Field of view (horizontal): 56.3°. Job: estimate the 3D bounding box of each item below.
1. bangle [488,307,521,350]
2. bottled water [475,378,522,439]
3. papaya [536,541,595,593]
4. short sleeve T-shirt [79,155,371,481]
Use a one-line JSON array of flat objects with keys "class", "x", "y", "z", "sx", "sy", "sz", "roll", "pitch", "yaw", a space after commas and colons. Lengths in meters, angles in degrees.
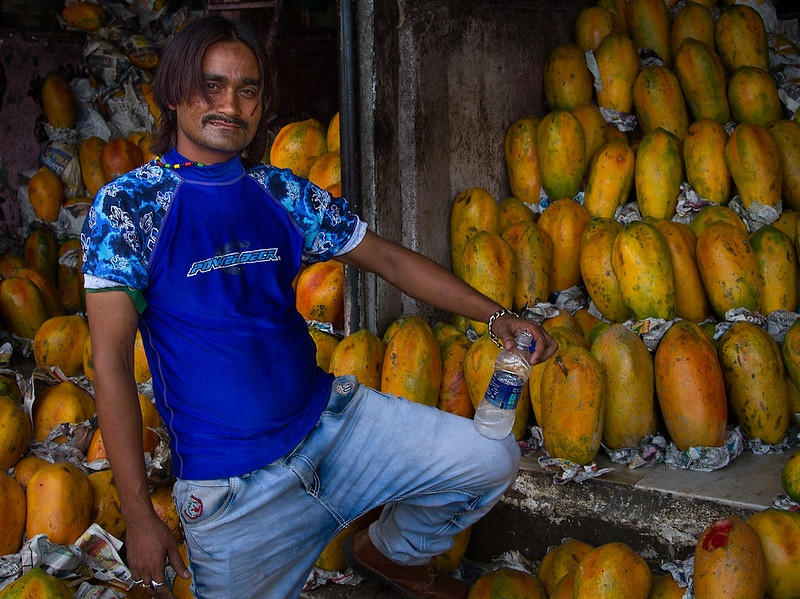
[{"class": "bangle", "x": 0.371, "y": 0.106, "z": 2.726, "sx": 0.100, "sy": 0.147, "sz": 0.036, "roll": 1, "pitch": 1, "yaw": 30}, {"class": "bottled water", "x": 0.345, "y": 0.386, "z": 2.660, "sx": 0.111, "sy": 0.115, "sz": 0.288, "roll": -14, "pitch": -17, "yaw": -10}, {"class": "papaya", "x": 0.639, "y": 1.059, "z": 2.981, "sx": 0.168, "sy": 0.123, "sz": 0.211, "roll": -33, "pitch": -1, "yaw": -41}, {"class": "short sleeve T-shirt", "x": -0.512, "y": 0.030, "z": 2.507, "sx": 0.896, "sy": 1.012, "sz": 0.492, "roll": -17, "pitch": 16, "yaw": -36}]
